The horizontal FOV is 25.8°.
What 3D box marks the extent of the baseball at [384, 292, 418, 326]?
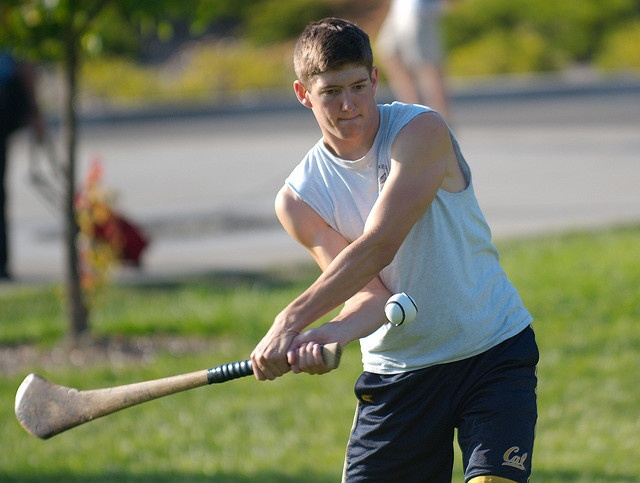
[{"bbox_3d":[0.572,0.482,10.070,0.202,0.254,0.220,-23,8,-41],"label":"baseball"}]
